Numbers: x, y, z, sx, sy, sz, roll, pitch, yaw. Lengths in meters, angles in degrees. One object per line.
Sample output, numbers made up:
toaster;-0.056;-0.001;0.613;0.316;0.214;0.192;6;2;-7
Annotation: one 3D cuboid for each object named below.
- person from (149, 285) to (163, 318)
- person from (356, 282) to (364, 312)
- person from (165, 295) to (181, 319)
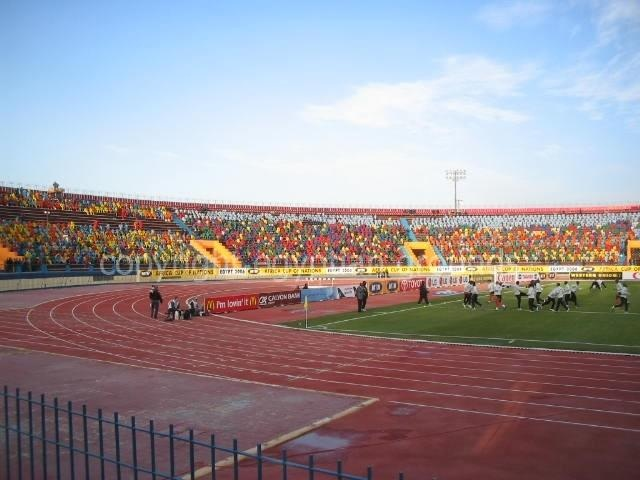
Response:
person;-8.629;3.199;29.937;0.510;1.700;1.568;-2;1;-15
person;2.265;3.192;32.095;0.423;1.633;0.797;-1;1;4
person;-7.582;3.537;29.341;0.665;1.033;0.909;-2;1;-16
